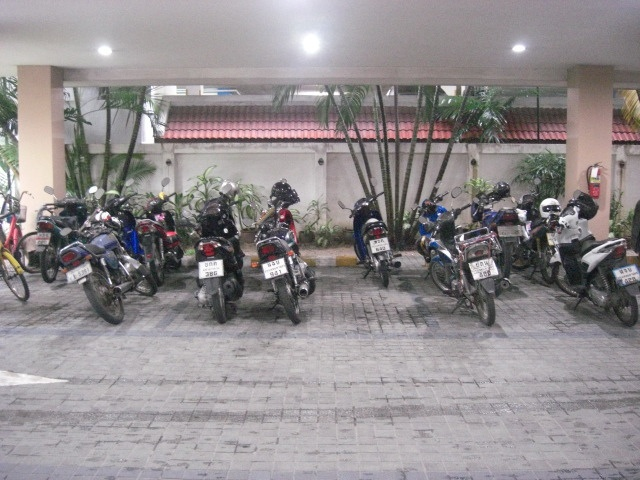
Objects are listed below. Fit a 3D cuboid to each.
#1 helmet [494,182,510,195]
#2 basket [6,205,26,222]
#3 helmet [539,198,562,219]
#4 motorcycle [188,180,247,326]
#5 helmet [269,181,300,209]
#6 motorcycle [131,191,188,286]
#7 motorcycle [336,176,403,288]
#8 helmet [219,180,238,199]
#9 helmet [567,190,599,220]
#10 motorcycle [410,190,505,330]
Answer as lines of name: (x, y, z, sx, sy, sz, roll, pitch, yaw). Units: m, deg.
helmet: (2.833, -0.842, 7.674, 0.232, 0.189, 0.232, 11, -13, -15)
basket: (-4.850, -0.423, 7.814, 0.216, 0.249, 0.236, 1, 14, -10)
helmet: (3.290, -0.475, 6.886, 0.295, 0.327, 0.379, -1, 7, 3)
motorcycle: (-1.236, 0.147, 5.819, 0.524, 1.609, 0.988, -3, 10, -1)
helmet: (-0.515, -0.636, 6.818, 0.330, 0.384, 0.433, 0, 23, -5)
motorcycle: (-2.487, -0.097, 7.750, 0.654, 0.987, 1.585, -18, 19, 6)
motorcycle: (0.836, 0.015, 7.571, 0.562, 1.370, 0.993, -4, 10, -4)
helmet: (-1.171, -0.649, 6.173, 0.189, 0.242, 0.224, 0, 13, -1)
helmet: (3.291, -0.418, 6.047, 0.291, 0.356, 0.396, 8, -6, -7)
motorcycle: (1.701, 0.153, 6.005, 0.701, 1.510, 1.639, -3, 10, 3)
